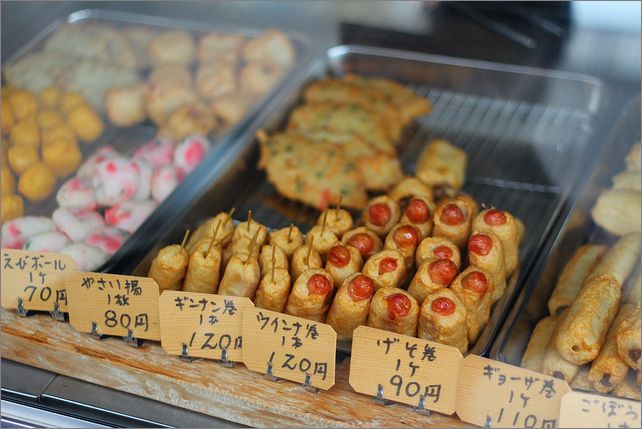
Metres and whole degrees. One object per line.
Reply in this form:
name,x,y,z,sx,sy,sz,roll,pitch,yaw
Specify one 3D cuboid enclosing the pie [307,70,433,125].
pie,0.306,-0.653,3.295,0.482,0.332,0.090,22,-42,20
